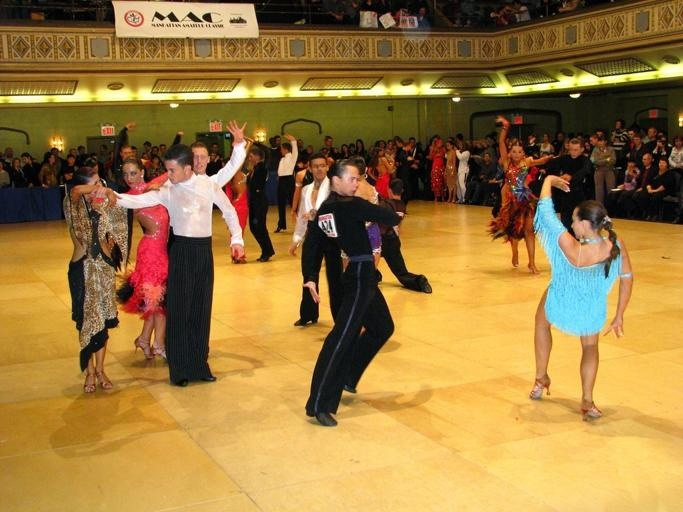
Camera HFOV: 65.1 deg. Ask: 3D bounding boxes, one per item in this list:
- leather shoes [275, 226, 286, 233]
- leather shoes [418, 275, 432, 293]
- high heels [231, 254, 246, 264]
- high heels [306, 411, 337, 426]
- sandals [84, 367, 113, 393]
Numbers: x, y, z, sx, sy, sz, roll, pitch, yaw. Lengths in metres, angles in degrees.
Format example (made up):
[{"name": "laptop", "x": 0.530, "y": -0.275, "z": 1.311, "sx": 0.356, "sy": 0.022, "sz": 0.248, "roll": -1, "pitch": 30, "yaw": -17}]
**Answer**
[{"name": "leather shoes", "x": -1.735, "y": -0.728, "z": 14.982, "sx": 0.354, "sy": 0.169, "sz": 0.114, "roll": 8, "pitch": -8, "yaw": -18}, {"name": "leather shoes", "x": 1.245, "y": 0.417, "z": 7.990, "sx": 0.226, "sy": 0.252, "sz": 0.236, "roll": -1, "pitch": 10, "yaw": 9}, {"name": "high heels", "x": -1.491, "y": 0.053, "z": 7.765, "sx": 0.156, "sy": 0.162, "sz": 0.171, "roll": 0, "pitch": -19, "yaw": -1}, {"name": "high heels", "x": -0.143, "y": 1.208, "z": 3.993, "sx": 0.208, "sy": 0.081, "sz": 0.103, "roll": -1, "pitch": 5, "yaw": 27}, {"name": "sandals", "x": -2.174, "y": 1.091, "z": 4.769, "sx": 0.217, "sy": 0.222, "sz": 0.216, "roll": 0, "pitch": 10, "yaw": 15}]
